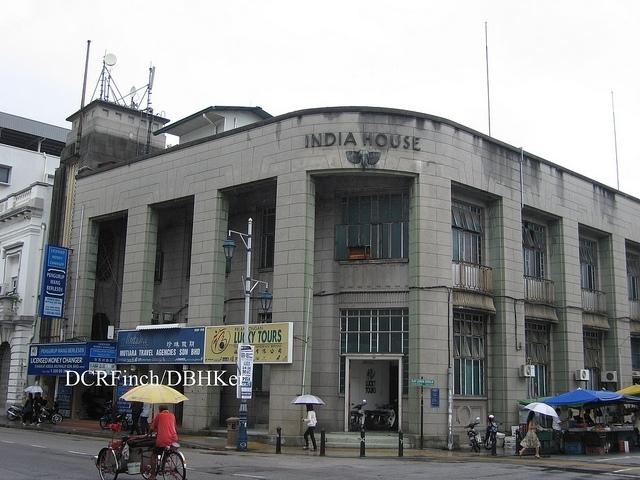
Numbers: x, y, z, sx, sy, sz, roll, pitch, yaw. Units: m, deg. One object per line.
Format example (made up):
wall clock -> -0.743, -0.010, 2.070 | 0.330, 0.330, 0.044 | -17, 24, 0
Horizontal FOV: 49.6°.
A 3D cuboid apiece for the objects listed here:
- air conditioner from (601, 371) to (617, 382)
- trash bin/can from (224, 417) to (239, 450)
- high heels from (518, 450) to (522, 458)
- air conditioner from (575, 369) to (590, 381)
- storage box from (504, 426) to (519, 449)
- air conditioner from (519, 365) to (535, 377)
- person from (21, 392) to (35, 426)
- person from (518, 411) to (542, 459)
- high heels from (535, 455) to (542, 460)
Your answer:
air conditioner -> 18.078, 8.474, 43.199 | 0.882, 0.728, 0.732 | -9, -19, 26
trash bin/can -> -3.940, 8.642, 31.111 | 0.503, 1.366, 0.784 | 3, -17, -10
high heels -> 9.066, 9.641, 31.256 | 0.137, 0.351, 0.104 | 1, 3, 0
air conditioner -> 15.315, 7.847, 40.450 | 0.420, 0.567, 0.792 | -6, -13, 32
storage box -> 9.745, 9.980, 35.140 | 0.882, 1.360, 1.345 | -1, -12, 22
air conditioner -> 11.145, 7.006, 37.191 | 1.112, 0.695, 0.322 | 17, -23, -42
person -> -17.805, 10.276, 42.149 | 0.623, 1.771, 0.908 | 7, -18, -22
person -> 9.602, 8.868, 31.730 | 0.859, 2.047, 1.496 | -5, -18, 16
high heels -> 9.780, 9.654, 30.871 | 0.400, 0.195, 0.133 | 3, -6, -35
